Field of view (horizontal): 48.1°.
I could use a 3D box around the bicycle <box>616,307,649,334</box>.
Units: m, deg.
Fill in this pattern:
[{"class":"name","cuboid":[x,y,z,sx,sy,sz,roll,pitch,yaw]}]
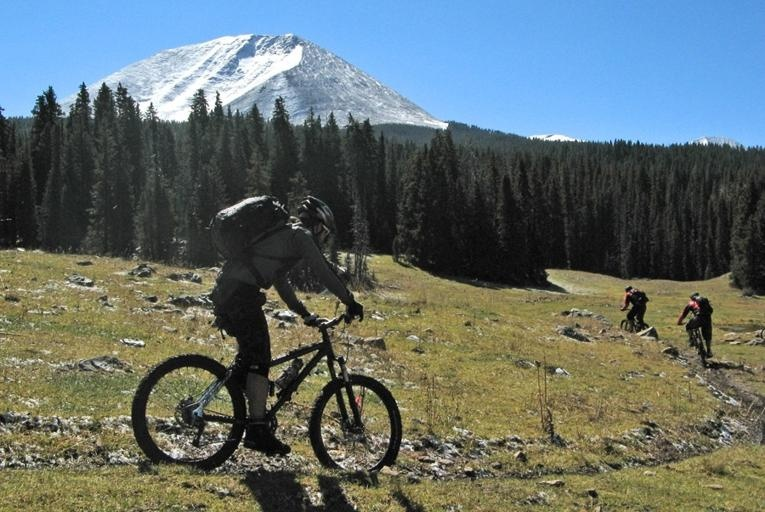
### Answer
[{"class":"bicycle","cuboid":[19.175,5.234,65.477,2.302,1.555,1.227,-2,1,27]}]
